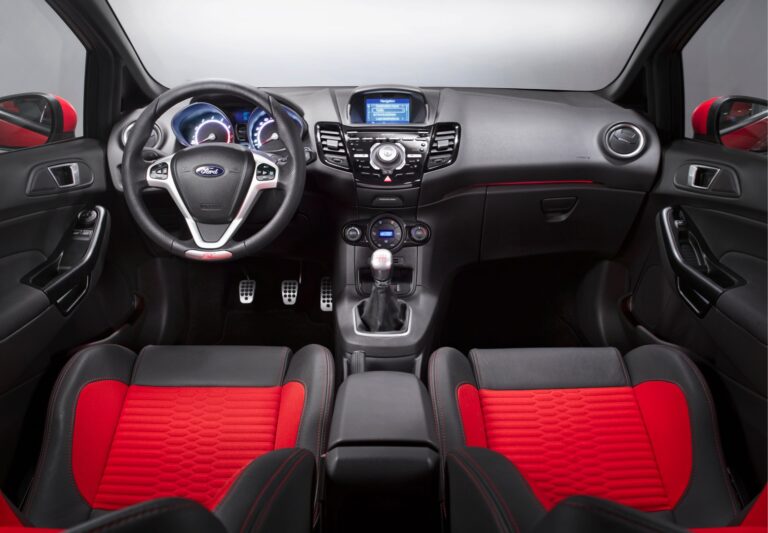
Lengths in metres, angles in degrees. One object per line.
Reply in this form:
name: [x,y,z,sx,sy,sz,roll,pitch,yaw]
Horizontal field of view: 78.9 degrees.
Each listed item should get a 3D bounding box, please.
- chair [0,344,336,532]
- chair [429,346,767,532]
chair: [-0.573,0.474,1.426,0.820,0.476,0.335,3,-9,-7]
chair: [0.580,0.478,1.487,0.516,0.590,0.693,-4,-35,4]
